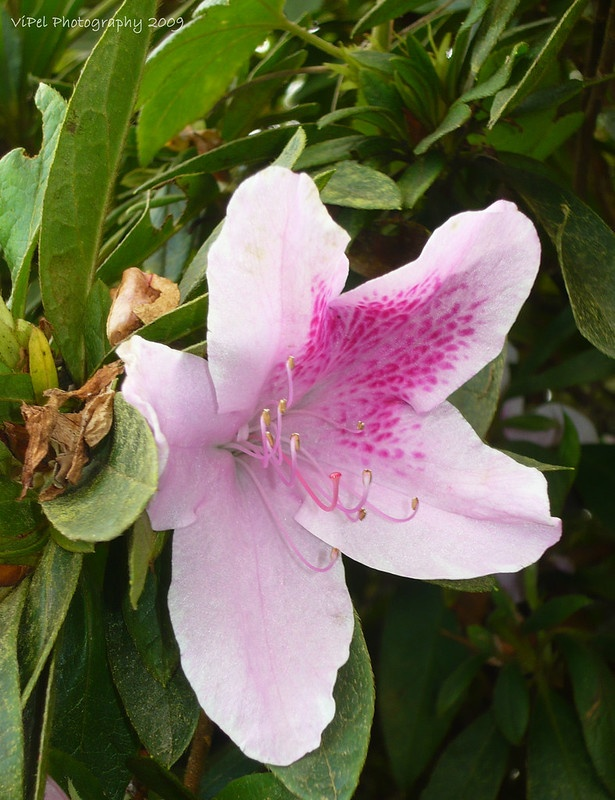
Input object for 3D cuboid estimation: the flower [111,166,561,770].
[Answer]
[{"bbox_3d":[-0.061,0.026,0.849,0.479,0.430,0.223,2,12,-28],"label":"flower"}]
